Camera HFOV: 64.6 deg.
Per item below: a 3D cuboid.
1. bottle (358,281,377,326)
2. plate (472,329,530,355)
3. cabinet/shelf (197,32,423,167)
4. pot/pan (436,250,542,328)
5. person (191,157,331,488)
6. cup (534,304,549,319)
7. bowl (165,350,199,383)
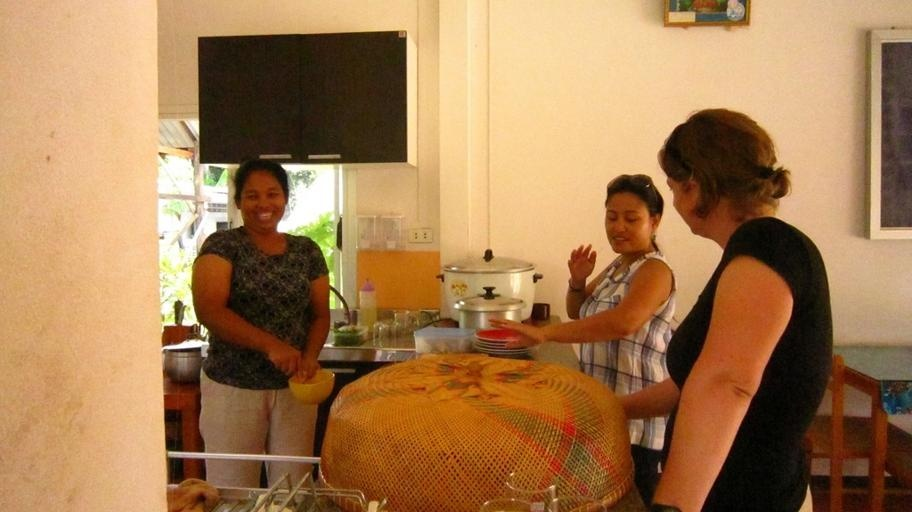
[{"bbox_3d":[-0.487,0.262,3.981,0.083,0.245,0.163,-1,8,-9],"label":"bottle"},{"bbox_3d":[0.175,0.352,2.854,0.202,0.119,0.204,1,8,3],"label":"plate"},{"bbox_3d":[-0.810,-0.850,3.893,0.917,0.493,0.291,0,-2,3],"label":"cabinet/shelf"},{"bbox_3d":[0.148,0.127,3.596,0.501,0.316,0.403,0,2,6],"label":"pot/pan"},{"bbox_3d":[-0.807,0.297,3.003,0.550,1.388,0.497,-1,8,-10],"label":"person"},{"bbox_3d":[0.472,0.311,3.992,0.085,0.069,0.083,-1,-3,0],"label":"cup"},{"bbox_3d":[-1.320,0.524,3.522,0.176,0.123,0.173,0,5,0],"label":"bowl"}]
